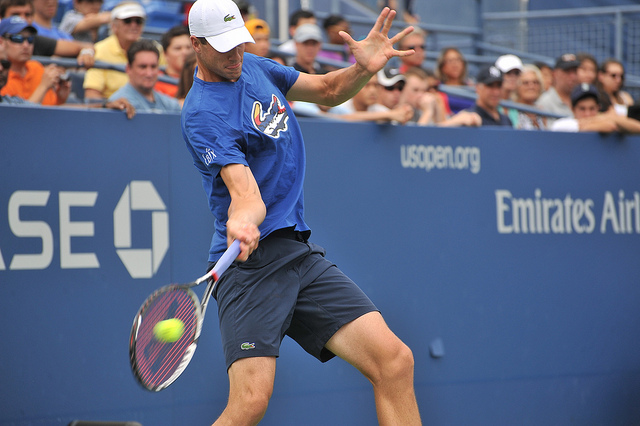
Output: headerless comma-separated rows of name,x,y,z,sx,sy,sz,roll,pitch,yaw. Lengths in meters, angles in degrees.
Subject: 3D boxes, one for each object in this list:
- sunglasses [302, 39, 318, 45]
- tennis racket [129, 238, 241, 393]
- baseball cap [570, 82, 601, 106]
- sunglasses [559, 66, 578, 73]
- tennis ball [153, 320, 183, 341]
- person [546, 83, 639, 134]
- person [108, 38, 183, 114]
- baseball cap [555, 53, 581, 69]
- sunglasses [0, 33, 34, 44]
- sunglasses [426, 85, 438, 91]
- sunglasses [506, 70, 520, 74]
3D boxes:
sunglasses,-0.111,-1.849,10.906,0.143,0.060,0.024,3,13,-7
tennis racket,-1.079,0.811,7.876,0.096,0.473,1.265,6,44,44
baseball cap,2.592,-1.146,9.852,0.292,0.215,0.244,7,14,7
sunglasses,2.511,-1.453,10.233,0.157,0.056,0.049,8,14,9
tennis ball,-1.122,0.878,7.472,0.175,0.069,0.131,-2,11,27
person,2.623,-0.936,9.687,0.510,0.303,0.727,-3,5,4
person,-1.619,-1.230,9.247,0.852,0.695,0.380,-4,9,-35
baseball cap,2.514,-1.545,10.301,0.255,0.137,0.207,8,14,12
sunglasses,-2.673,-1.545,8.900,0.280,0.090,0.067,0,14,-20
sunglasses,1.200,-1.344,10.856,0.112,0.030,0.118,1,9,28
sunglasses,2.010,-1.473,10.542,0.151,0.044,0.010,-2,15,-26
